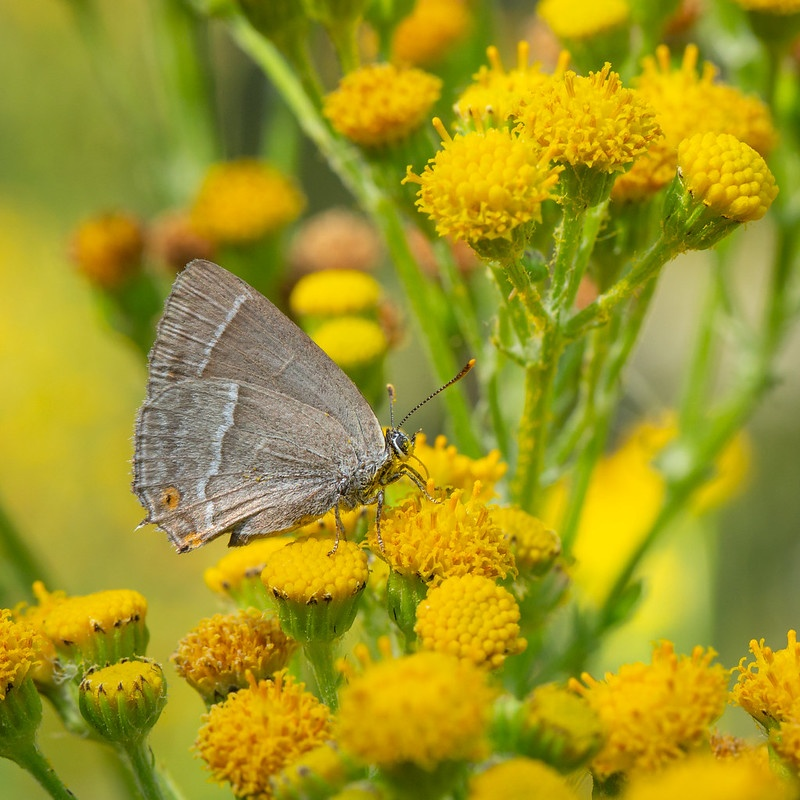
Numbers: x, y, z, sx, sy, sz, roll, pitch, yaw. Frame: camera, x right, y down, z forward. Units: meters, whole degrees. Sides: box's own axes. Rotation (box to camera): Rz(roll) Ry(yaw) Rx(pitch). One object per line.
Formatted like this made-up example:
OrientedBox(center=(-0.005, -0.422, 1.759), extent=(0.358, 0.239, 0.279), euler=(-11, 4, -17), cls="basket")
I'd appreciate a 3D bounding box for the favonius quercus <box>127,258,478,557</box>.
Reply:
OrientedBox(center=(-0.093, 0.008, 1.015), extent=(0.320, 0.257, 0.247), euler=(-6, -1, -5), cls="favonius quercus")
